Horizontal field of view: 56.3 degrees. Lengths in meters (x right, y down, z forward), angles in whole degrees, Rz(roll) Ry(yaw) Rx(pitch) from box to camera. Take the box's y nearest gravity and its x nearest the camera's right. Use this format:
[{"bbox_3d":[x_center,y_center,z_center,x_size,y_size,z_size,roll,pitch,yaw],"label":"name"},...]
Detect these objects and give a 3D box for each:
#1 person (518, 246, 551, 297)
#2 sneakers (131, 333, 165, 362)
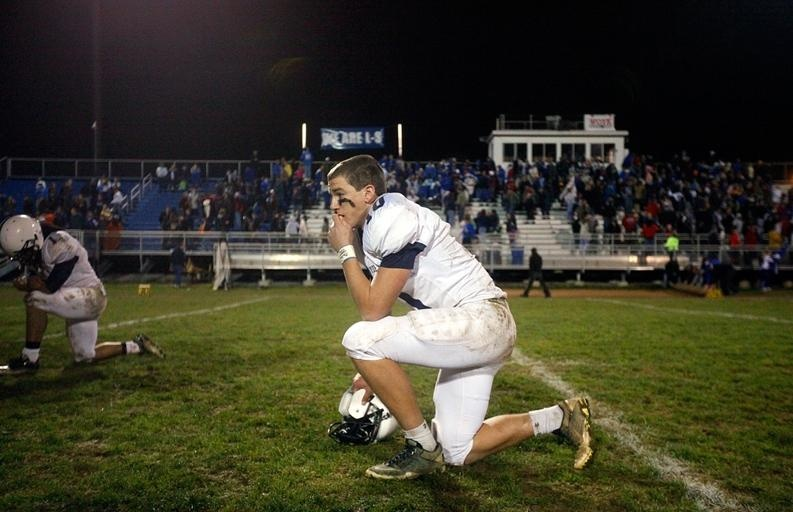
[{"bbox_3d":[3.897,0.528,20.435,0.925,1.425,0.643,5,-21,5],"label":"person"},{"bbox_3d":[-3.763,1.363,11.323,0.501,0.209,0.293,38,-4,3],"label":"sneakers"}]
